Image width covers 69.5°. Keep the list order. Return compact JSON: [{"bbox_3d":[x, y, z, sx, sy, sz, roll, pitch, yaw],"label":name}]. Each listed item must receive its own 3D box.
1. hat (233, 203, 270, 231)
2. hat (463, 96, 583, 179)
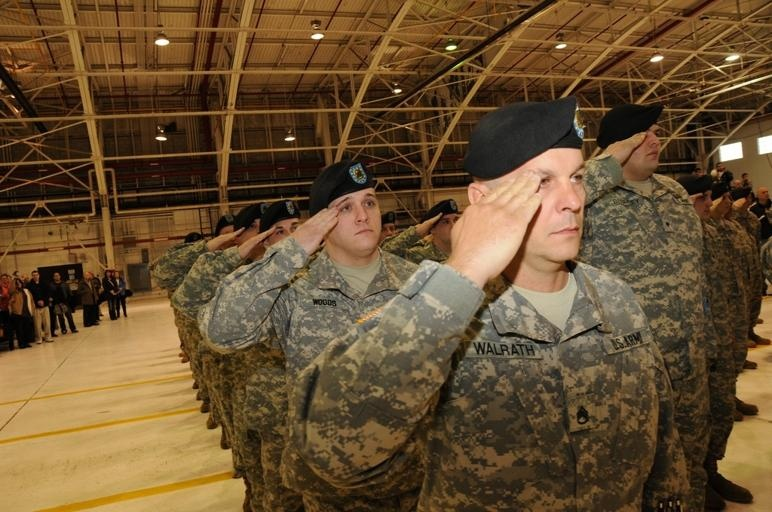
[{"bbox_3d":[-1.347,-0.369,5.435,0.341,0.130,0.244,-25,1,32],"label":"hat"},{"bbox_3d":[0.663,-0.645,3.027,0.793,0.260,0.668,-16,16,4],"label":"hat"}]
